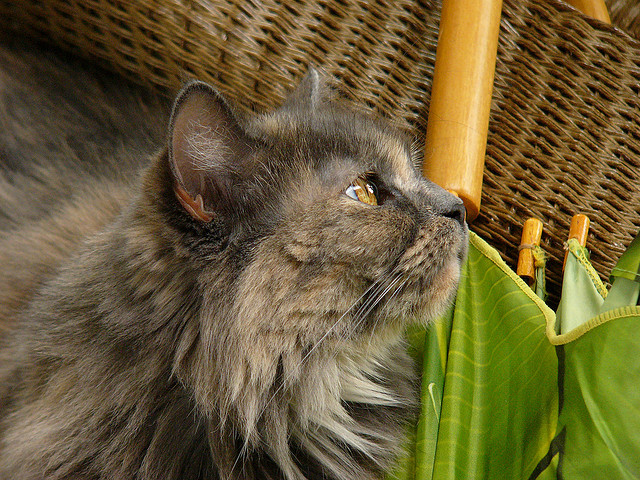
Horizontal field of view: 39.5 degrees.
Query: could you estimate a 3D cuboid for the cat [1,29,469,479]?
[{"bbox_3d":[-0.246,0.073,2.442,1.116,1.113,0.800,11,6,7],"label":"cat"}]
